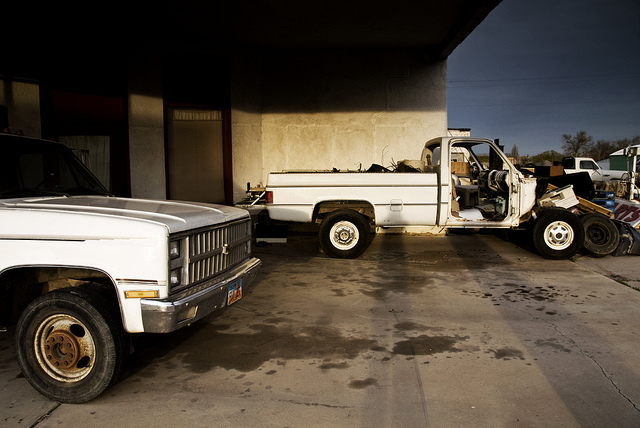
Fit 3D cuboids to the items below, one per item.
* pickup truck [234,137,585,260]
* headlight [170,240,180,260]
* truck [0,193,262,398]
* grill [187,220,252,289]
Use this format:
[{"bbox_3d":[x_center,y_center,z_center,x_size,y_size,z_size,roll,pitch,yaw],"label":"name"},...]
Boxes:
[{"bbox_3d":[2.060,-0.334,10.064,7.653,2.671,3.180,-1,5,-3],"label":"pickup truck"},{"bbox_3d":[-1.495,0.359,4.325,0.032,0.174,0.140,4,13,20],"label":"headlight"},{"bbox_3d":[-1.988,0.710,4.851,2.616,1.326,1.899,0,2,7],"label":"truck"},{"bbox_3d":[-1.168,0.399,5.068,0.200,0.555,1.585,6,8,13],"label":"grill"}]
